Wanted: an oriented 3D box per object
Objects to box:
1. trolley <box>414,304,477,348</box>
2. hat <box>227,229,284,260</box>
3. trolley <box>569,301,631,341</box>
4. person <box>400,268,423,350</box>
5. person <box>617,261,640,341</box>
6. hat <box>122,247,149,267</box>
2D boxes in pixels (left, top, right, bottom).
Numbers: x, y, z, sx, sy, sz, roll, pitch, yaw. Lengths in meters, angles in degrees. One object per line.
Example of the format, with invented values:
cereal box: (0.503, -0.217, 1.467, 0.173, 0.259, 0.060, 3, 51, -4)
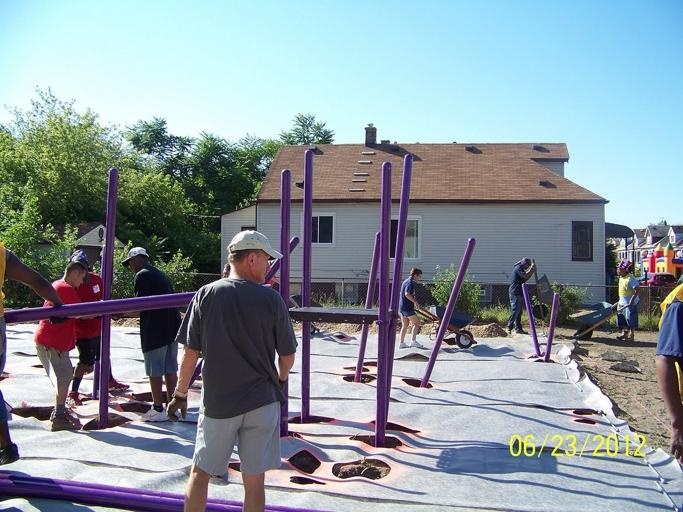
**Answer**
trolley: (2.089, 1.360, 14.222, 1.114, 0.690, 0.721, 3, 3, -16)
hat: (-0.801, -0.108, 6.706, 0.395, 0.216, 0.247, -2, 2, -13)
trolley: (5.884, 1.430, 16.378, 1.369, 0.648, 0.639, -15, -2, -17)
person: (1.342, 0.992, 14.093, 0.463, 1.522, 1.005, 4, 0, 7)
person: (6.381, 0.978, 16.333, 0.468, 1.750, 0.853, 4, 0, 21)
hat: (-2.638, -0.007, 9.297, 0.352, 0.208, 0.234, -4, -3, -2)
